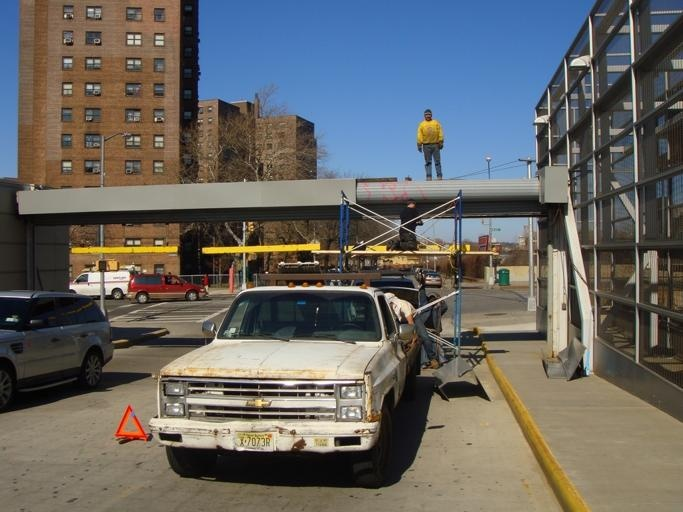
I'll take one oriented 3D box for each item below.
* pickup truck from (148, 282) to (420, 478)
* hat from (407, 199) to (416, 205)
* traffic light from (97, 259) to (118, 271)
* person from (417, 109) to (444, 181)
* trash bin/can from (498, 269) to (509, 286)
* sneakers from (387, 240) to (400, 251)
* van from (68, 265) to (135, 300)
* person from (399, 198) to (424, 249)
[{"bbox_3d":[-0.748,1.681,10.425,2.105,1.825,3.802,-2,-6,9],"label":"pickup truck"},{"bbox_3d":[1.648,-1.293,17.530,0.120,0.107,0.128,-3,-2,35],"label":"hat"},{"bbox_3d":[-9.720,0.378,30.516,0.550,0.429,0.389,0,-7,-10],"label":"traffic light"},{"bbox_3d":[2.277,-2.834,19.019,0.625,1.819,1.471,0,1,6],"label":"person"},{"bbox_3d":[12.345,1.643,55.864,0.730,1.226,1.050,0,1,4],"label":"trash bin/can"},{"bbox_3d":[1.256,-0.257,17.762,0.222,0.239,0.179,11,5,42],"label":"sneakers"},{"bbox_3d":[-13.220,1.525,41.075,3.901,1.828,2.151,1,-1,-8],"label":"van"},{"bbox_3d":[1.621,-0.741,17.495,0.492,1.209,1.428,0,1,6],"label":"person"}]
